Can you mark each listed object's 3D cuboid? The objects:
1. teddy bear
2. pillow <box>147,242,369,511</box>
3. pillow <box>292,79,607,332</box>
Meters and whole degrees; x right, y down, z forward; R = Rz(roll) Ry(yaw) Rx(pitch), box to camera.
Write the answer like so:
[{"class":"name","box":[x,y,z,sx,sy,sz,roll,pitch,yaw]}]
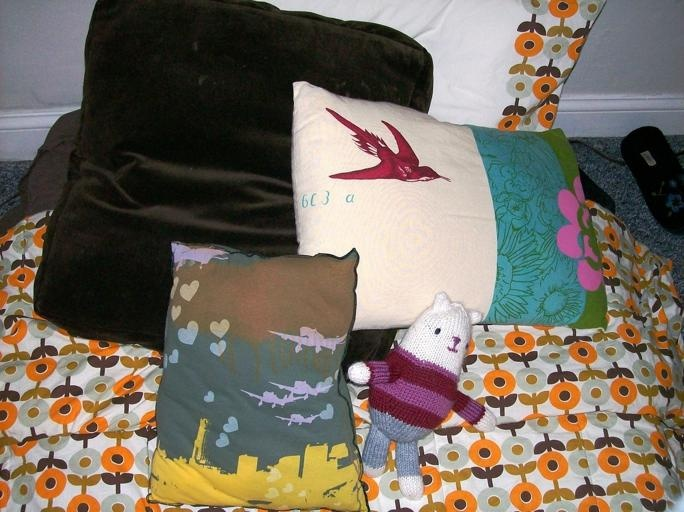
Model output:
[{"class":"teddy bear","box":[0.158,0.307,1.381,0.380,0.431,0.176,19,-2,-21]},{"class":"pillow","box":[-0.168,0.257,1.293,0.492,0.603,0.219,2,0,7]},{"class":"pillow","box":[0.229,-0.084,1.359,0.688,0.543,0.222,1,-5,-14]}]
